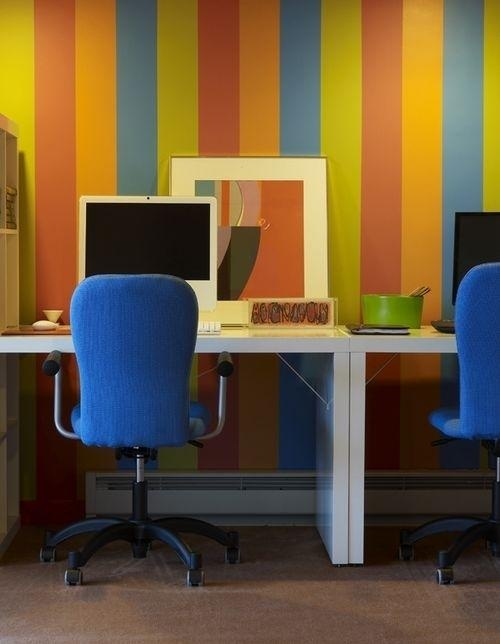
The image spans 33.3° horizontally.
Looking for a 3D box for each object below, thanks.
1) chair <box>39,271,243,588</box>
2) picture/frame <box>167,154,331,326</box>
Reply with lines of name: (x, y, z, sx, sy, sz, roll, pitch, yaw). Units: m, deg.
chair: (-0.357, 0.347, 2.846, 0.731, 1.331, 0.781, 0, 0, -6)
picture/frame: (-0.021, -0.323, 3.225, 0.493, 0.658, 0.036, 0, -1, -3)
